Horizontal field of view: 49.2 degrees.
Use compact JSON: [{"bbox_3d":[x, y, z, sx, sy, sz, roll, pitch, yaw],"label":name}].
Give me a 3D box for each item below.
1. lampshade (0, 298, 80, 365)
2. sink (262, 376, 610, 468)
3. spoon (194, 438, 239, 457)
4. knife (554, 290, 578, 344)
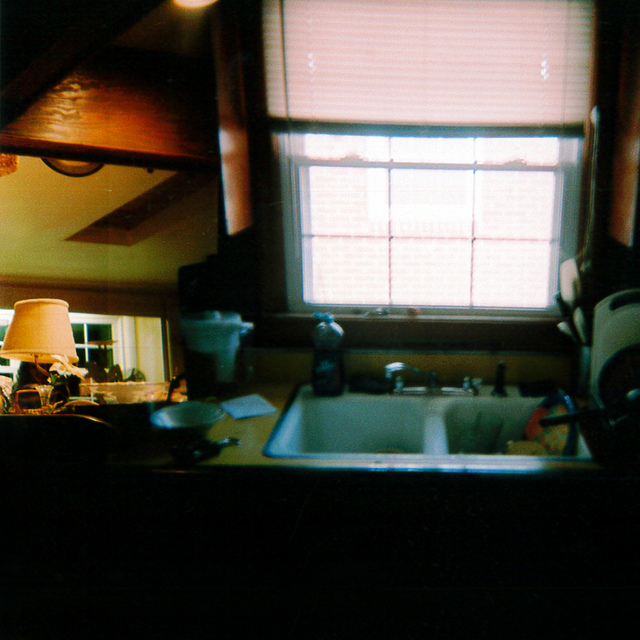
[{"bbox_3d":[-0.587,0.025,1.459,0.160,0.117,0.136,3,-5,-18],"label":"lampshade"},{"bbox_3d":[0.260,0.236,1.558,0.704,0.178,0.523,-1,0,3],"label":"sink"},{"bbox_3d":[-0.210,0.249,1.371,0.038,0.021,0.102,-1,0,35],"label":"spoon"},{"bbox_3d":[0.592,-0.009,1.701,0.022,0.135,0.038,-29,-1,-31],"label":"knife"}]
